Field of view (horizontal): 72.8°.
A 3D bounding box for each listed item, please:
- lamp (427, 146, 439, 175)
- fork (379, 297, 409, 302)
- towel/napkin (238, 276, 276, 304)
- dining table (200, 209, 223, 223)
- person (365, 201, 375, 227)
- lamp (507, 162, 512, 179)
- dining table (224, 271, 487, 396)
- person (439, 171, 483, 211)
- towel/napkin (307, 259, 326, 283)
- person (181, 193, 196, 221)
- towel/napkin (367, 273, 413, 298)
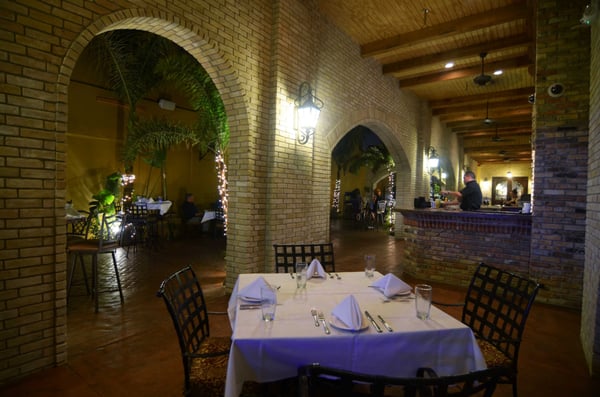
[{"bbox_3d":[4.489,-1.342,13.752,0.337,0.796,1.634,0,0,19],"label":"lamp"},{"bbox_3d":[1.168,1.260,5.061,0.328,0.046,0.048,0,5,-3],"label":"fork"},{"bbox_3d":[-0.496,1.115,4.918,0.324,0.146,0.340,1,1,-18],"label":"towel/napkin"},{"bbox_3d":[-2.691,0.555,12.458,0.634,0.356,0.846,0,0,-16],"label":"dining table"},{"bbox_3d":[2.894,0.660,16.709,0.368,0.780,1.171,0,0,9],"label":"person"},{"bbox_3d":[13.275,-1.747,25.708,0.211,0.932,0.383,0,0,-24],"label":"lamp"},{"bbox_3d":[0.529,1.630,4.866,2.705,0.855,0.947,0,0,-5],"label":"dining table"},{"bbox_3d":[3.805,0.069,9.476,0.835,1.366,0.625,-3,-4,37],"label":"person"},{"bbox_3d":[0.225,0.997,5.620,0.249,0.277,0.249,-1,-6,-13],"label":"towel/napkin"},{"bbox_3d":[-3.486,0.300,12.739,0.515,0.886,0.448,0,0,15],"label":"person"},{"bbox_3d":[1.132,1.067,5.227,0.337,0.159,0.329,1,0,-33],"label":"towel/napkin"}]
